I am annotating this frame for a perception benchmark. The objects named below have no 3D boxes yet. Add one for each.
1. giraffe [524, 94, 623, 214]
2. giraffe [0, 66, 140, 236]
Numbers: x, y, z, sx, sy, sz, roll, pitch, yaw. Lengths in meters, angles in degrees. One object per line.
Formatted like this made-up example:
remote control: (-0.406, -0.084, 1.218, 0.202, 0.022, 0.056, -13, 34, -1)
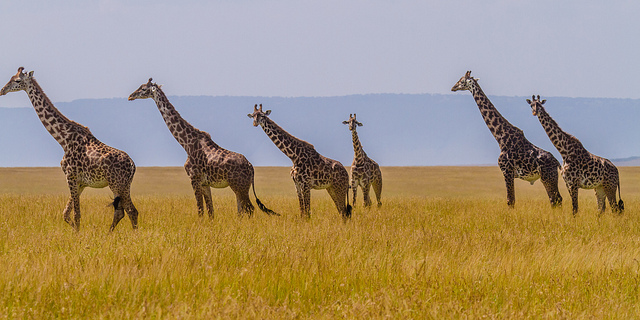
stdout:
giraffe: (10.135, -0.129, 29.117, 2.784, 4.321, 0.861, -4, 0, -5)
giraffe: (-8.452, -0.425, 26.517, 3.896, 6.130, 1.533, -3, 0, 26)
